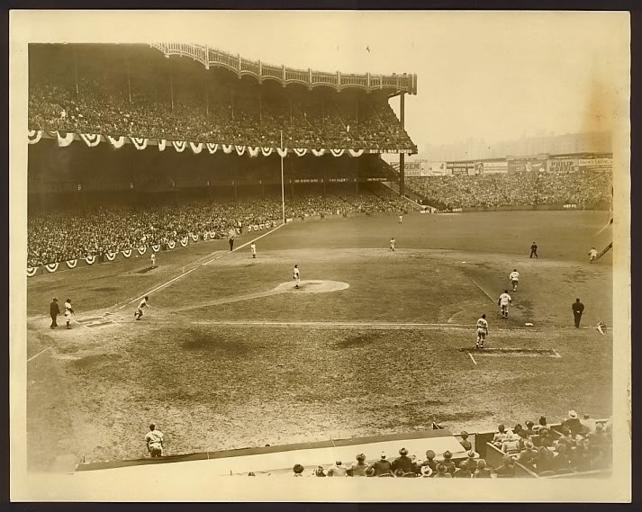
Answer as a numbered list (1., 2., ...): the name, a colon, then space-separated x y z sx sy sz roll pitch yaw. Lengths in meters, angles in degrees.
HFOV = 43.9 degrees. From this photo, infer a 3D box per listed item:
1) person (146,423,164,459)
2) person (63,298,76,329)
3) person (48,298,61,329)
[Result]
1. person: -4.948 5.533 23.638 0.552 1.320 0.449 -9 28 -18
2. person: -10.315 2.266 32.440 0.326 1.224 1.414 -4 9 -18
3. person: -10.974 2.245 32.576 0.349 1.296 1.595 -4 9 -19
